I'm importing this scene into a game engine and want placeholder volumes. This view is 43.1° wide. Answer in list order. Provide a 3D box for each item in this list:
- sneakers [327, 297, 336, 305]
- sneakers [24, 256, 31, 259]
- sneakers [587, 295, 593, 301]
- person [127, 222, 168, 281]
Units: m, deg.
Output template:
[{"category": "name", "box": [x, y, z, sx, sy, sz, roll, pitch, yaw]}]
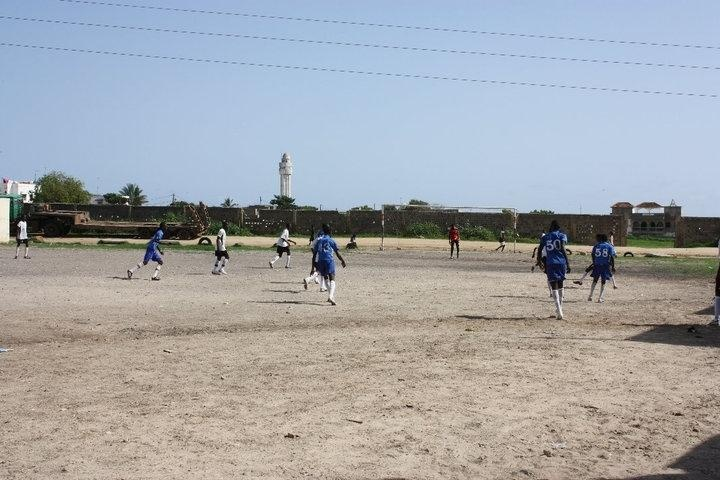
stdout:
[{"category": "sneakers", "box": [-0.771, 1.719, 25.129, 0.110, 0.312, 0.141, -16, 27, 24]}, {"category": "sneakers", "box": [-13.911, 0.715, 38.189, 0.262, 0.167, 0.091, -3, 5, -6]}, {"category": "sneakers", "box": [6.837, 1.730, 27.267, 0.129, 0.135, 0.240, 2, 1, 18]}, {"category": "person", "box": [-9.163, 0.481, 39.441, 1.397, 2.374, 0.843, 15, 31, -24]}]
